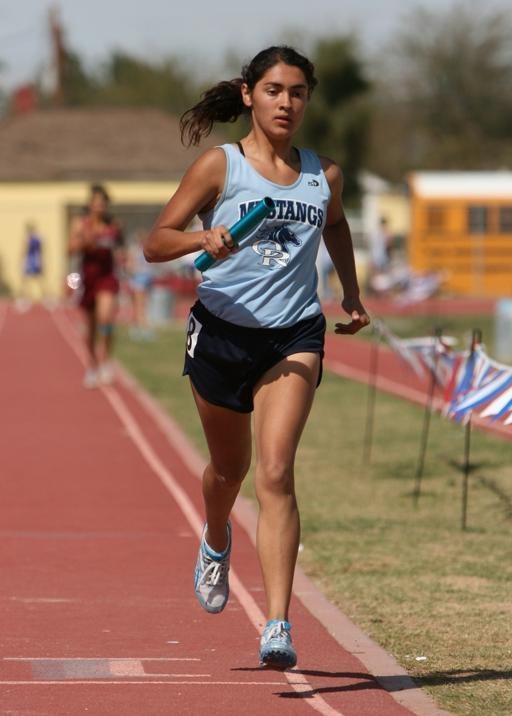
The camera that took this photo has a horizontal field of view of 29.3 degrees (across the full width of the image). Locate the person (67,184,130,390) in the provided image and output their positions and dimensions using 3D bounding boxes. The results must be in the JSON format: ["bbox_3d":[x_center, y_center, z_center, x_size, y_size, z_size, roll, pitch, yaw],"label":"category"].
[{"bbox_3d":[-1.615,-0.675,9.860,0.518,1.986,1.022,0,5,-8],"label":"person"}]

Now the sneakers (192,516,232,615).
[{"bbox_3d":[-0.149,0.718,3.352,0.133,0.292,0.129,2,-7,-5],"label":"sneakers"}]

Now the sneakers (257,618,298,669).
[{"bbox_3d":[0.058,0.758,2.611,0.066,0.073,0.177,4,2,-5],"label":"sneakers"}]
